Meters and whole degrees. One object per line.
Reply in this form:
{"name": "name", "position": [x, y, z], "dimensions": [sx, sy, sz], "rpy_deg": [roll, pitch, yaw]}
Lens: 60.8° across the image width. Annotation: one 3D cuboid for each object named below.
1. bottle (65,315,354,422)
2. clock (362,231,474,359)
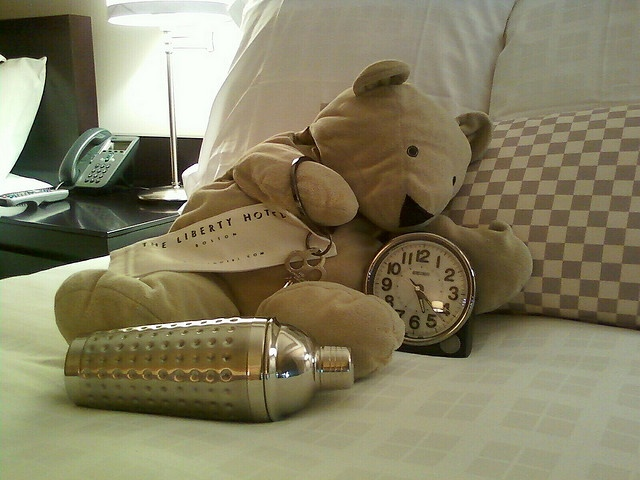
{"name": "bottle", "position": [-0.134, 0.157, 0.742], "dimensions": [0.351, 0.152, 0.148], "rpy_deg": [2, -5, 3]}
{"name": "clock", "position": [0.152, 0.090, 0.836], "dimensions": [0.167, 0.218, 0.056], "rpy_deg": [-1, -9, 11]}
